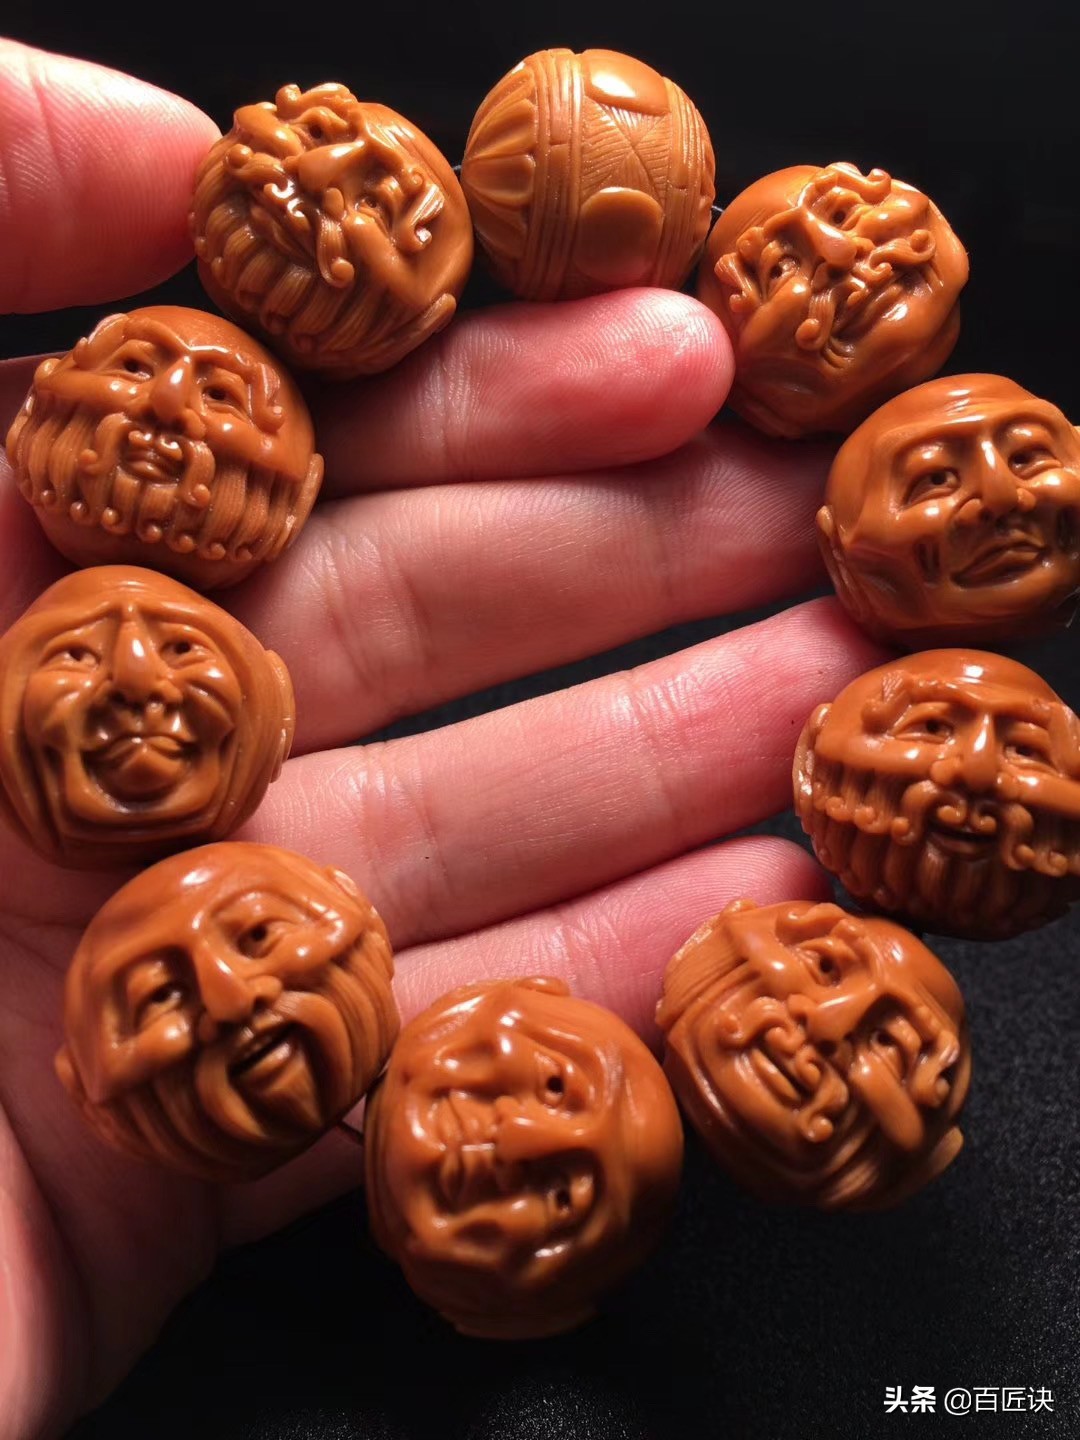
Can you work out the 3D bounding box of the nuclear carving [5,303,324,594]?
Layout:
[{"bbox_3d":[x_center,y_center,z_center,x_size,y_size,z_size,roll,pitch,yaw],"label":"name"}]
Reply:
[{"bbox_3d":[-0.333,-0.243,1.382,0.199,0.220,0.233,24,54,23],"label":"nuclear carving"}]

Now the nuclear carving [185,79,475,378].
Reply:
[{"bbox_3d":[-0.175,-0.456,1.476,0.207,0.254,0.272,-17,9,46],"label":"nuclear carving"}]

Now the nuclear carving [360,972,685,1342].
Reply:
[{"bbox_3d":[-0.019,0.335,1.241,0.259,0.205,0.244,-32,53,-23],"label":"nuclear carving"}]

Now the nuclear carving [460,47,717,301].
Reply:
[{"bbox_3d":[0.052,-0.538,1.523,0.300,0.237,0.239,-1,12,-12],"label":"nuclear carving"}]
